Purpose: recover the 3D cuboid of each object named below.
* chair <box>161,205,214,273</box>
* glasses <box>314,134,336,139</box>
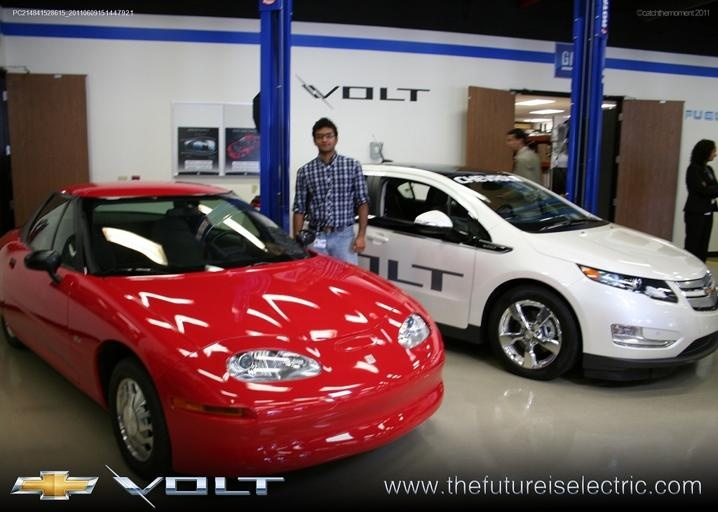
[{"bbox_3d":[-1.063,-0.104,2.975,0.242,0.458,0.127,-2,-30,-26],"label":"chair"},{"bbox_3d":[-0.275,-0.983,3.997,0.186,0.058,0.093,-2,13,-2],"label":"glasses"}]
